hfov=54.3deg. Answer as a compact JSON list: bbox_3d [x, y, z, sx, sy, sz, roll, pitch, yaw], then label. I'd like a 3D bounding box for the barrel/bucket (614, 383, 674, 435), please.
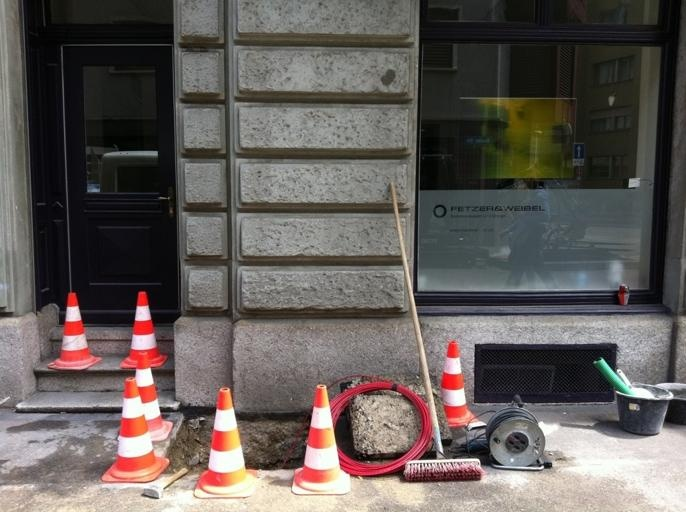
[{"bbox_3d":[2.593,1.337,5.777,0.471,0.339,0.467,1,5,0],"label":"barrel/bucket"}]

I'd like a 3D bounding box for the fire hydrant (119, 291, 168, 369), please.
[{"bbox_3d":[-1.842,0.706,6.412,0.485,0.753,0.470,7,9,-16],"label":"fire hydrant"}]

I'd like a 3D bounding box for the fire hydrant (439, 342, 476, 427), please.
[{"bbox_3d":[0.959,1.103,5.798,0.331,0.665,0.368,0,2,-2],"label":"fire hydrant"}]

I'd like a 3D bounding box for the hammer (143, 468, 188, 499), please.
[{"bbox_3d":[-1.337,1.673,4.989,0.166,0.081,0.394,2,12,20],"label":"hammer"}]

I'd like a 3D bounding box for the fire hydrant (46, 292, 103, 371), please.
[{"bbox_3d":[-2.560,0.716,6.361,0.383,0.730,0.393,1,0,-9],"label":"fire hydrant"}]

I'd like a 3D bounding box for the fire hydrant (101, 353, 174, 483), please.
[{"bbox_3d":[-1.577,1.270,5.143,0.476,0.809,0.568,14,11,-15],"label":"fire hydrant"}]
